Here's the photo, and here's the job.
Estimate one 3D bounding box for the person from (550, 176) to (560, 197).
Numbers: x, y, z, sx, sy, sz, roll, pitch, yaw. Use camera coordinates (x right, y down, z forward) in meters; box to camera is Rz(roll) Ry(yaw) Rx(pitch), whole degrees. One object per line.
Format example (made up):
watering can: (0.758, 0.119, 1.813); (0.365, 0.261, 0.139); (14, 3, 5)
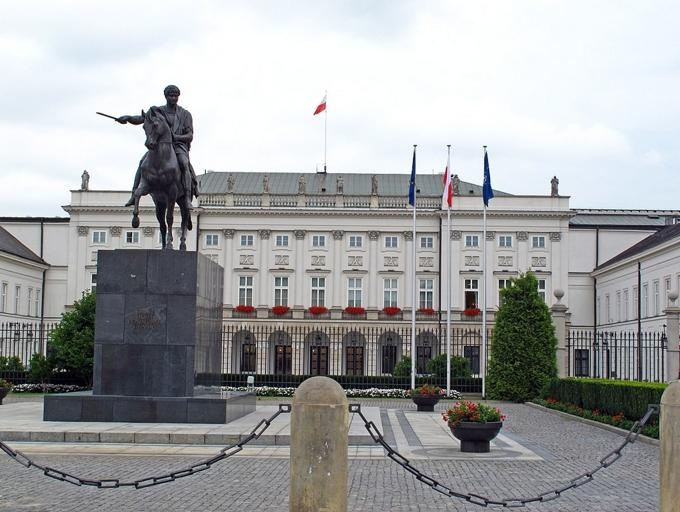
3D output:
person: (14.413, -4.654, 67.428); (0.476, 1.421, 2.136); (-1, -7, 12)

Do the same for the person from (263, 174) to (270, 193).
person: (-4.996, -4.921, 68.826); (0.356, 1.122, 1.276); (1, -7, -7)

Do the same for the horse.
horse: (-4.540, -1.960, 26.109); (1.261, 3.721, 2.016); (-2, -7, 16)
